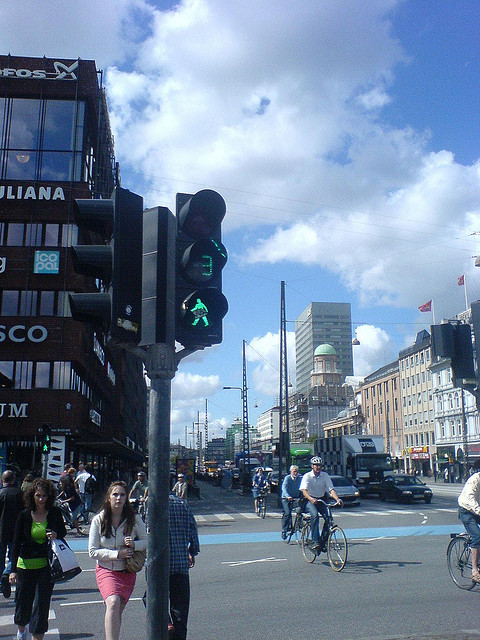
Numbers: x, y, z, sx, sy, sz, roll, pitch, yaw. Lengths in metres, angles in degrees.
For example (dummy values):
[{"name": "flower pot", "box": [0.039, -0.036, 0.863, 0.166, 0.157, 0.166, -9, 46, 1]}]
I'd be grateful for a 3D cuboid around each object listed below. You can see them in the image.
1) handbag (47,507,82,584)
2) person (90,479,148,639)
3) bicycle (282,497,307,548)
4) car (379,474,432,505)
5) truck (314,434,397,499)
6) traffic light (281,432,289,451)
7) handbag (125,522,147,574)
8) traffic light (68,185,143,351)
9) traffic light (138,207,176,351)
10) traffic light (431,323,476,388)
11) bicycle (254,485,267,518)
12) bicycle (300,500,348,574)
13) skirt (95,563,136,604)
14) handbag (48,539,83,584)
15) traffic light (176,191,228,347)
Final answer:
[{"name": "handbag", "box": [-1.636, 2.012, 5.233, 0.164, 0.660, 0.298, -34, -24, 18]}, {"name": "person", "box": [-0.886, 1.756, 4.407, 0.450, 1.030, 0.527, 5, -13, -29]}, {"name": "bicycle", "box": [1.358, 4.310, 12.526, 0.581, 0.843, 1.286, 3, -13, -5]}, {"name": "car", "box": [8.108, 8.373, 29.133, 1.140, 1.007, 2.667, 1, -21, -7]}, {"name": "truck", "box": [6.629, 8.966, 36.069, 2.102, 3.797, 7.307, 3, -12, -12]}, {"name": "traffic light", "box": [2.160, 5.774, 27.872, 0.445, 0.845, 0.229, 7, -14, -36]}, {"name": "handbag", "box": [-0.781, 1.776, 4.353, 0.142, 0.083, 0.226, 13, -64, -17]}, {"name": "traffic light", "box": [-0.652, -0.164, 2.826, 0.351, 0.757, 0.310, -5, -38, -7]}, {"name": "traffic light", "box": [-0.370, -0.205, 2.856, 0.132, 0.729, 0.267, -8, -13, 30]}, {"name": "traffic light", "box": [1.576, 0.260, 4.299, 0.293, 0.494, 0.311, -4, -12, 12]}, {"name": "bicycle", "box": [0.788, 6.794, 22.084, 0.402, 1.145, 1.276, -2, -12, 2]}, {"name": "bicycle", "box": [1.174, 3.700, 9.821, 0.555, 0.974, 1.494, 7, -22, -13]}, {"name": "skirt", "box": [-0.918, 1.947, 4.353, 0.278, 0.441, 0.240, 1, -28, -8]}, {"name": "handbag", "box": [-1.598, 2.108, 5.195, 0.141, 0.396, 0.328, -31, -22, 10]}, {"name": "traffic light", "box": [-0.196, -0.270, 3.018, 0.290, 0.821, 0.121, 5, -13, -29]}]
